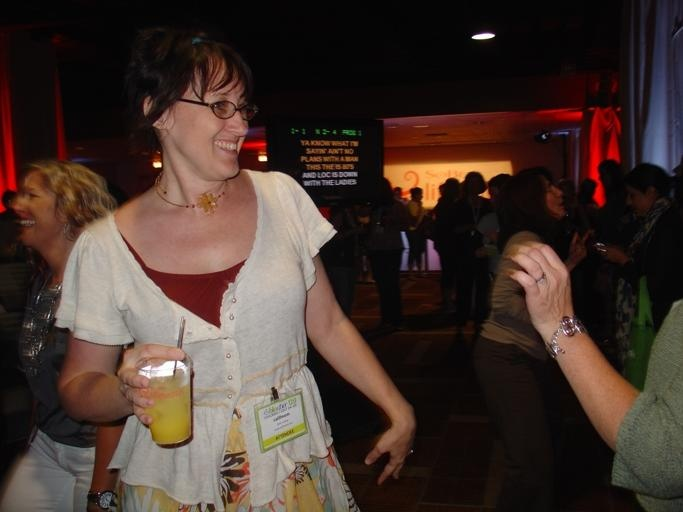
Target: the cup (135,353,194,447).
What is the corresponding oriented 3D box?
[{"bbox_3d":[-0.485,0.406,1.392,0.164,0.209,0.161,-11,-14,-3],"label":"cup"}]
